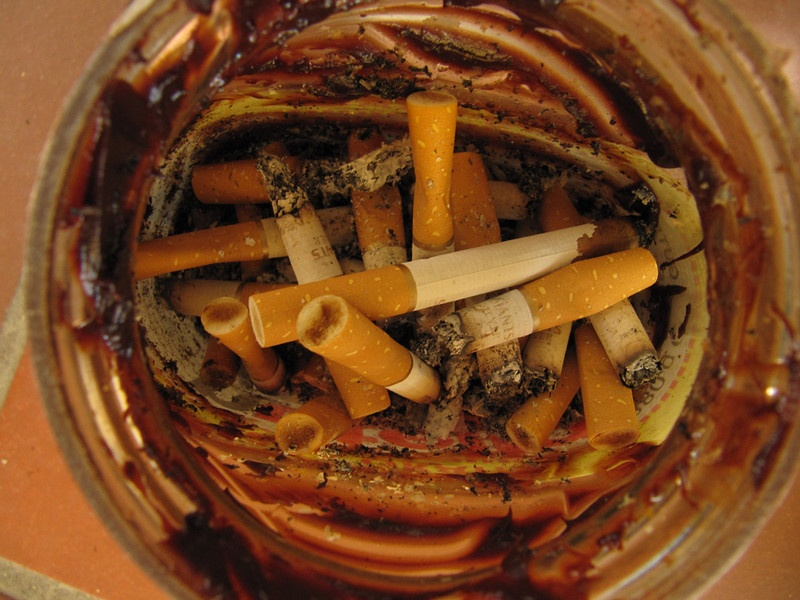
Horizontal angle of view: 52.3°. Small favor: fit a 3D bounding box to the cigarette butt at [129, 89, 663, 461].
[{"bbox_3d":[0.015,-0.080,2.172,1.158,0.413,0.943,-2,79,2],"label":"cigarette butt"}]
